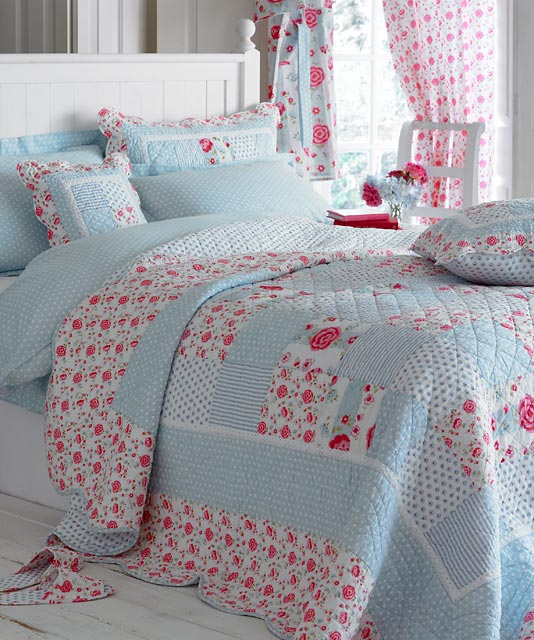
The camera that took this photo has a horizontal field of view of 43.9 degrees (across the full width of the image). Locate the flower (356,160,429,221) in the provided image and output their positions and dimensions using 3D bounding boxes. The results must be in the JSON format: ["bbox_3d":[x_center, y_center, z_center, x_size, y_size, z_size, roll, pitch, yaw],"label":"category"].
[{"bbox_3d":[0.566,-0.609,3.210,0.384,0.330,0.311,2,8,-10],"label":"flower"}]
